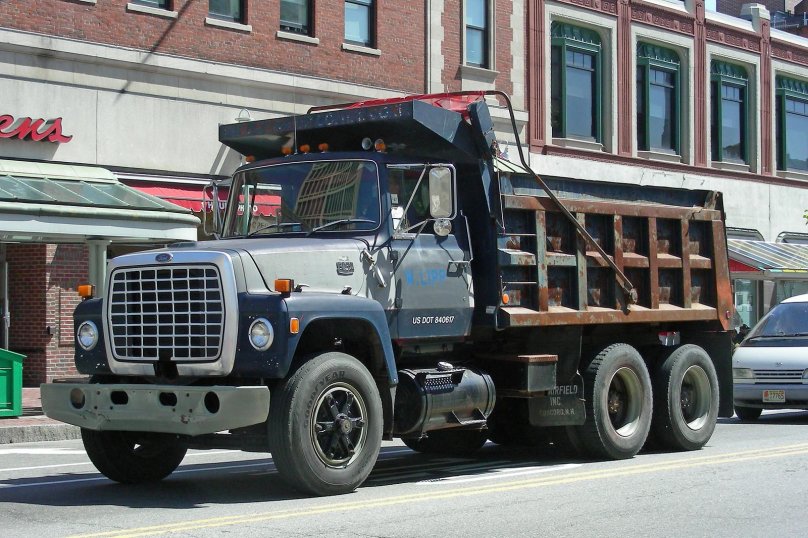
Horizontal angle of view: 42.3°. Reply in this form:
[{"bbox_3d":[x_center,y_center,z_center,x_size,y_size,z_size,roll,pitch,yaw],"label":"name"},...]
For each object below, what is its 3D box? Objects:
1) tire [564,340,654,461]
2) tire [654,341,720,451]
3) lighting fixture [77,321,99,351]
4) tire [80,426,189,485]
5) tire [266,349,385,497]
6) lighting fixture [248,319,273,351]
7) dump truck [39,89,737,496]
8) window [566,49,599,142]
[{"bbox_3d":[3.016,1.937,15.233,0.598,1.669,1.805,-5,-8,40],"label":"tire"},{"bbox_3d":[4.268,1.959,15.911,0.528,1.424,1.531,-1,-11,39],"label":"tire"},{"bbox_3d":[-3.840,0.817,12.772,0.380,0.357,0.125,-2,-2,31],"label":"lighting fixture"},{"bbox_3d":[-3.363,2.338,13.133,1.008,0.927,0.371,3,-6,-39],"label":"tire"},{"bbox_3d":[-0.925,1.782,12.262,1.710,1.738,0.633,-11,6,-36],"label":"tire"},{"bbox_3d":[-1.614,0.744,11.926,0.381,0.373,0.119,1,4,28],"label":"lighting fixture"},{"bbox_3d":[0.433,0.136,14.810,10.069,5.403,3.080,1,-6,-37],"label":"dump truck"},{"bbox_3d":[5.501,-5.684,33.451,1.758,3.084,0.176,19,35,42],"label":"window"}]
